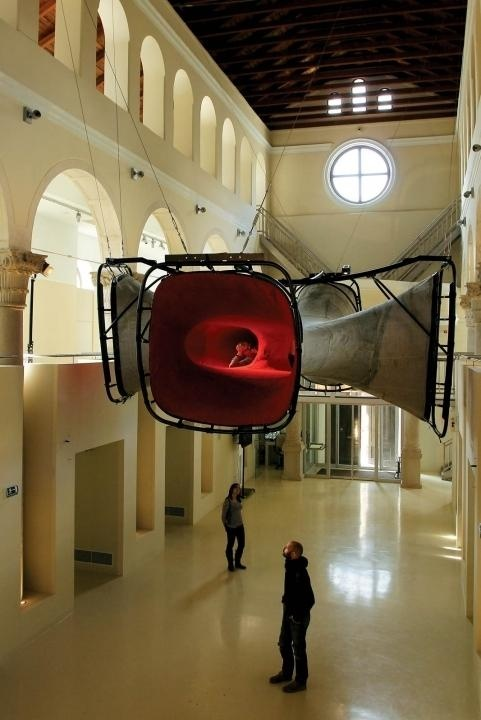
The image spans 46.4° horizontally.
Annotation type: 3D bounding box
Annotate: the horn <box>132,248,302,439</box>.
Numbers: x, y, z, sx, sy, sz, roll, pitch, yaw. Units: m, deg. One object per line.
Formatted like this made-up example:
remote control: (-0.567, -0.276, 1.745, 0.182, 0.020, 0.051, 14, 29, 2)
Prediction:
horn: (-0.071, -0.065, 3.380, 0.801, 0.952, 1.827, 0, -4, 4)

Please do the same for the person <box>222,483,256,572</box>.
person: (-0.090, 2.395, 8.088, 0.276, 1.377, 0.240, -5, 13, -15)
